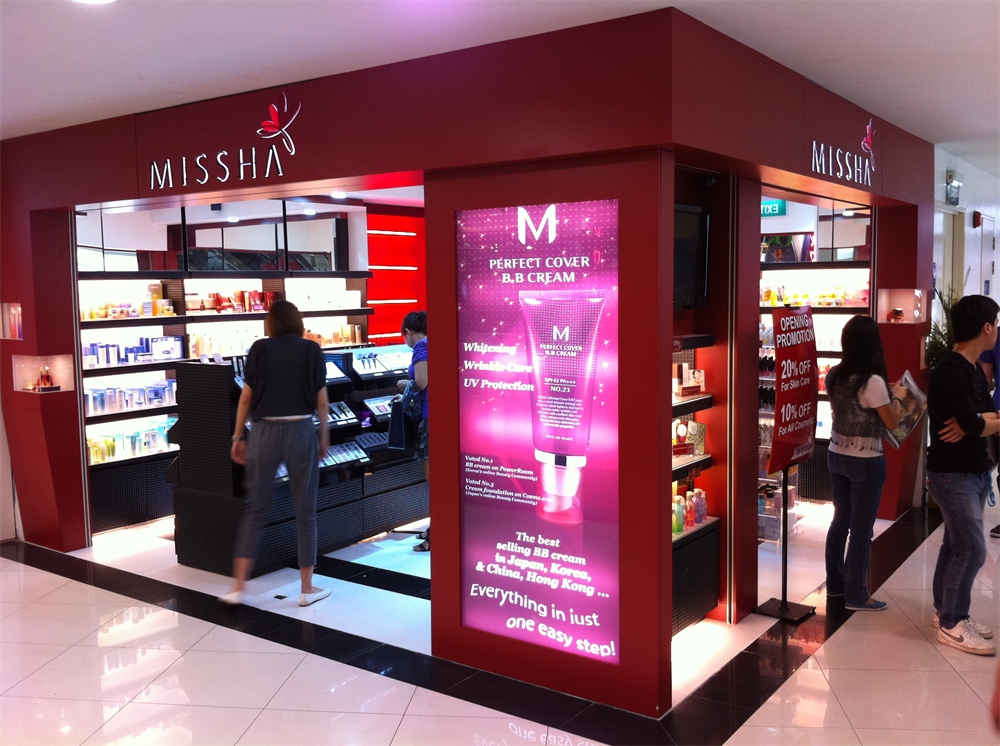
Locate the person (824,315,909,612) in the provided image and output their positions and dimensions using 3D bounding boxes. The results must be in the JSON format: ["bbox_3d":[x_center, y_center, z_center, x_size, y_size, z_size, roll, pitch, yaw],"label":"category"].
[{"bbox_3d":[2.501,0.631,5.192,0.574,2.079,0.711,0,1,37],"label":"person"}]
